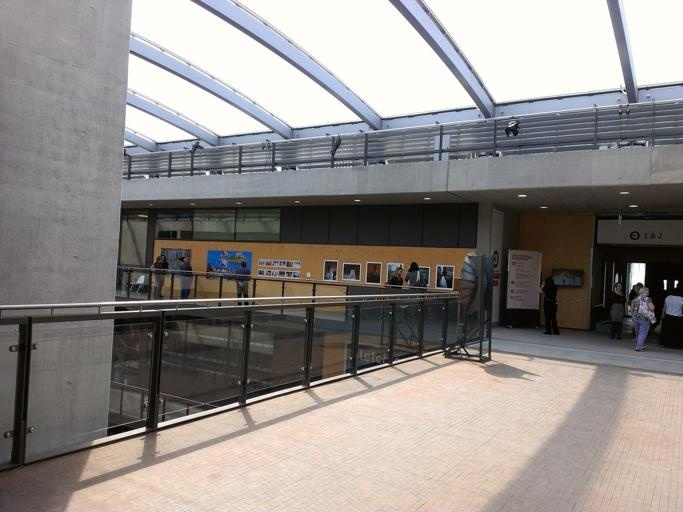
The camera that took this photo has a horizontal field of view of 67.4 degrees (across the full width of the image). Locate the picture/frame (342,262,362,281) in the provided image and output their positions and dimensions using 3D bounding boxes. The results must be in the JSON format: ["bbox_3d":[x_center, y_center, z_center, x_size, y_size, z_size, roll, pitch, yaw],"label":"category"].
[{"bbox_3d":[0.386,0.580,19.723,0.864,0.578,0.081,5,1,37],"label":"picture/frame"}]

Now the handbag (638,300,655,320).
[{"bbox_3d":[8.227,1.466,13.846,0.581,0.601,0.362,-6,-7,31],"label":"handbag"}]

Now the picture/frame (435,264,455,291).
[{"bbox_3d":[3.573,0.737,17.572,0.893,1.068,0.051,1,-9,36],"label":"picture/frame"}]

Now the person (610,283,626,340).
[{"bbox_3d":[8.967,1.732,16.607,0.366,1.904,1.394,5,2,28],"label":"person"}]

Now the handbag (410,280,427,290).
[{"bbox_3d":[2.474,0.895,16.703,0.560,0.484,0.299,4,-9,-39],"label":"handbag"}]

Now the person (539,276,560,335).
[{"bbox_3d":[6.813,1.596,16.609,0.544,1.887,0.848,5,2,15],"label":"person"}]

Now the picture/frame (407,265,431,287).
[{"bbox_3d":[2.632,0.678,17.334,0.796,1.001,0.600,1,5,33],"label":"picture/frame"}]

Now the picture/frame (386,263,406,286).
[{"bbox_3d":[1.943,0.637,18.078,0.064,0.846,0.694,6,6,-39],"label":"picture/frame"}]
